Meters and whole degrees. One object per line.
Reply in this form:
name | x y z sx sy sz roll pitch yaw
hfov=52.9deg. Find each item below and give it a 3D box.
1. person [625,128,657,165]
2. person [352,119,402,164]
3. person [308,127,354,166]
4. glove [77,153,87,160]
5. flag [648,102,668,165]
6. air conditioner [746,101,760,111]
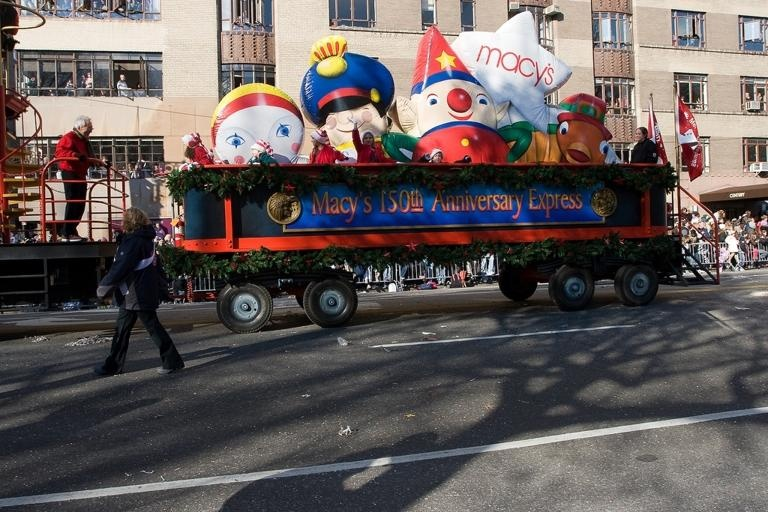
person | 5.924 -2.437 17.662 0.520 1.075 0.671 0 -6 -20
person | -0.188 -2.457 16.592 0.657 1.178 0.350 -20 -32 -22
person | -1.157 -2.347 16.268 0.804 0.710 1.549 -3 10 -9
glove | -6.050 -1.986 15.408 0.148 0.142 0.208 1 10 12
flag | 6.923 -3.241 19.696 0.421 2.129 0.298 -11 -25 25
air conditioner | 20.981 -8.593 43.953 0.785 0.493 0.587 0 -4 1
